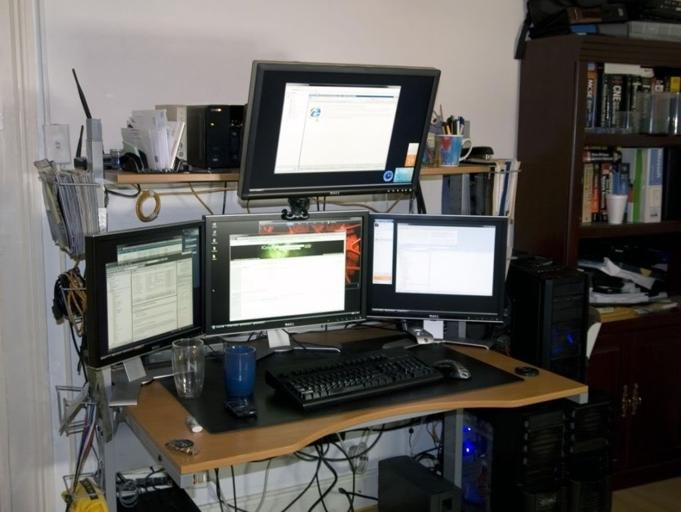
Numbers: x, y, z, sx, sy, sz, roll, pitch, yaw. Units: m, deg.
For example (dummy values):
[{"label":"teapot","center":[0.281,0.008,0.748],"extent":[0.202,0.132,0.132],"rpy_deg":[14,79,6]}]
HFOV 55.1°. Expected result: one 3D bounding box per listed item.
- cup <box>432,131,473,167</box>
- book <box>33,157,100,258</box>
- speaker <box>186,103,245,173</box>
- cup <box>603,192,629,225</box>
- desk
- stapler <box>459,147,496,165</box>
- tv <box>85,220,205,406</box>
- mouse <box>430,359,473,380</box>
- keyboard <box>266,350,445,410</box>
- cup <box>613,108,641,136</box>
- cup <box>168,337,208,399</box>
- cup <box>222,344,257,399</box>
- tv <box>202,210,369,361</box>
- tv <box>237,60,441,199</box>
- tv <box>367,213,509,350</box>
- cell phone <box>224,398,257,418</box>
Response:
[{"label":"cup","center":[0.494,-0.456,2.844],"extent":[0.180,0.133,0.119],"rpy_deg":[0,4,5]},{"label":"book","center":[-0.901,-0.174,2.314],"extent":[0.104,0.340,0.262],"rpy_deg":[-20,22,-40]},{"label":"speaker","center":[-0.491,-0.453,2.540],"extent":[0.253,0.205,0.250],"rpy_deg":[8,13,31]},{"label":"cup","center":[1.362,-0.233,3.230],"extent":[0.092,0.143,0.087],"rpy_deg":[-1,9,0]},{"label":"desk","center":[-0.034,-0.218,2.384],"extent":[1.897,1.452,0.978],"rpy_deg":[-5,10,-27]},{"label":"stapler","center":[0.608,-0.468,3.070],"extent":[0.073,0.089,0.250],"rpy_deg":[-4,8,-30]},{"label":"tv","center":[-0.685,0.200,2.254],"extent":[0.195,0.615,0.576],"rpy_deg":[5,8,38]},{"label":"mouse","center":[0.414,0.411,2.432],"extent":[0.103,0.033,0.070],"rpy_deg":[12,15,38]},{"label":"keyboard","center":[0.060,0.436,2.354],"extent":[0.622,0.098,0.223],"rpy_deg":[-5,10,-23]},{"label":"cup","center":[1.392,-0.653,3.192],"extent":[0.163,0.151,0.093],"rpy_deg":[0,-2,-6]},{"label":"cup","center":[-0.529,0.385,2.272],"extent":[0.102,0.196,0.088],"rpy_deg":[-2,9,-9]},{"label":"cup","center":[-0.345,0.400,2.290],"extent":[0.123,0.167,0.127],"rpy_deg":[-1,9,0]},{"label":"tv","center":[-0.220,0.100,2.533],"extent":[0.552,0.474,0.112],"rpy_deg":[-4,15,-23]},{"label":"tv","center":[-0.026,-0.470,2.435],"extent":[0.671,0.404,0.066],"rpy_deg":[-1,32,-21]},{"label":"tv","center":[0.389,0.090,2.686],"extent":[0.575,0.419,0.061],"rpy_deg":[0,8,1]},{"label":"cell phone","center":[-0.329,0.504,2.170],"extent":[0.072,0.034,0.102],"rpy_deg":[-8,12,-38]}]
